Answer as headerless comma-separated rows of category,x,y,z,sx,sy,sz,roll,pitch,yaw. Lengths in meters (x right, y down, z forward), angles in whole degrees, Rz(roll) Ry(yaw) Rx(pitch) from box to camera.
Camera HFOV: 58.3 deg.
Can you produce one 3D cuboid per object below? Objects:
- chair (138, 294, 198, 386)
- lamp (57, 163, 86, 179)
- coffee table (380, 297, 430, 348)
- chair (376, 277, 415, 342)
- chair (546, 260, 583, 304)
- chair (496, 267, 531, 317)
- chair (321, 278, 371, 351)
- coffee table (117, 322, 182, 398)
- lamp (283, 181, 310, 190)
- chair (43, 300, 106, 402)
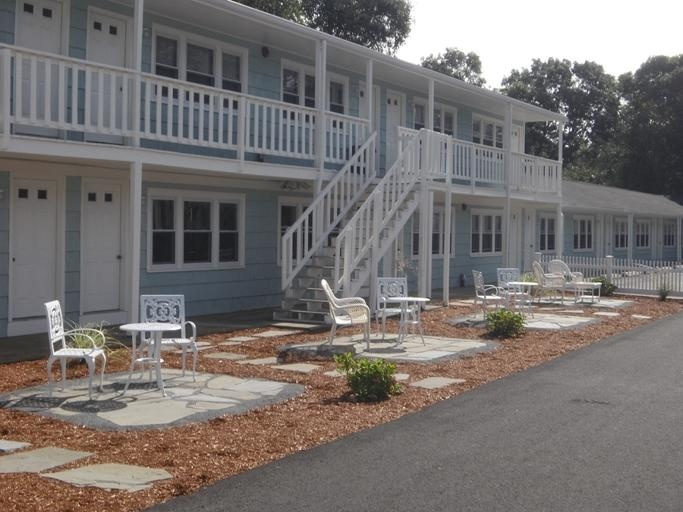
chair,-2.600,1.222,9.072,0.821,1.195,0.810,5,-13,-34
lamp,-5.328,-1.682,12.095,0.208,0.272,0.416,-2,-1,37
coffee table,1.231,1.302,11.972,0.902,0.980,0.951,-1,-3,0
chair,1.032,0.953,12.575,0.692,1.205,0.747,-2,9,-2
chair,6.736,0.770,18.637,0.899,1.269,1.025,-10,7,30
chair,4.231,0.862,15.265,0.618,1.128,0.673,-6,-2,3
chair,0.140,1.036,10.872,0.937,1.101,0.916,-1,-2,-38
coffee table,-2.491,1.334,8.074,0.612,0.730,0.649,4,-8,-31
lamp,-1.158,-1.822,15.686,0.801,0.185,0.698,0,4,-18
chair,-3.454,1.191,8.037,0.806,1.148,0.813,2,1,19
